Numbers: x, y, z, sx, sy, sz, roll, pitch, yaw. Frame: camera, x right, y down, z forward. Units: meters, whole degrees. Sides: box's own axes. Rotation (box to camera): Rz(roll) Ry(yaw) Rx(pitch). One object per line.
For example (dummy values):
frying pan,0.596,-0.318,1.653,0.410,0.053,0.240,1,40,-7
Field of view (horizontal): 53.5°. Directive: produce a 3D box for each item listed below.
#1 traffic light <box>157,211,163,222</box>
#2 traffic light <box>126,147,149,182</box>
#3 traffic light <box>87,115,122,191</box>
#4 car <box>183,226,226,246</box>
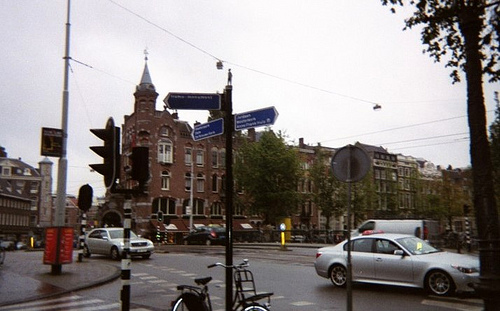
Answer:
traffic light,-6.710,4.537,37.174,0.279,0.808,0.943,2,-13,-5
traffic light,-3.247,0.231,14.491,0.606,1.081,0.572,5,-13,-15
traffic light,-4.066,-0.080,14.258,0.838,2.139,0.622,-2,-13,15
car,-3.931,6.963,42.837,2.109,1.556,4.521,8,-12,-43
